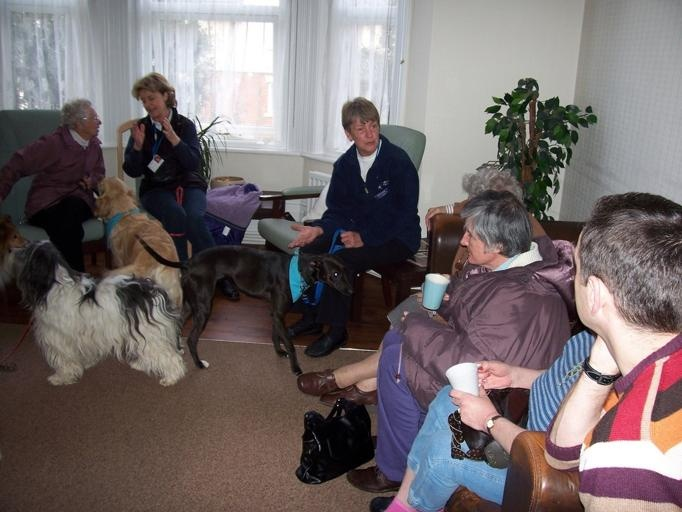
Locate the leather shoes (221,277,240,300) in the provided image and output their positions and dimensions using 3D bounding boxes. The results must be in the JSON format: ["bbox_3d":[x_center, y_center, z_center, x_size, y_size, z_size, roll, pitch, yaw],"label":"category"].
[{"bbox_3d":[-0.797,0.242,3.689,0.070,0.085,0.195,-24,54,-30],"label":"leather shoes"}]

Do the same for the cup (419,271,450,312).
[{"bbox_3d":[0.411,0.151,2.318,0.132,0.163,0.142,22,14,-6],"label":"cup"}]

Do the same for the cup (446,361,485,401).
[{"bbox_3d":[0.410,0.408,1.680,0.098,0.095,0.103,-7,-25,-3],"label":"cup"}]

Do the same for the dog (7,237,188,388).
[{"bbox_3d":[-1.313,0.337,2.776,0.725,0.685,0.333,0,-3,-7],"label":"dog"}]

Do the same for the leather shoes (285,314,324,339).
[{"bbox_3d":[-0.235,0.468,3.438,0.290,0.231,0.108,1,8,-18],"label":"leather shoes"}]

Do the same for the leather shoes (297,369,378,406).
[{"bbox_3d":[-0.037,0.693,2.723,0.443,0.198,0.171,7,30,4],"label":"leather shoes"}]

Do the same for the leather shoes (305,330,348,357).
[{"bbox_3d":[-0.091,0.557,3.274,0.113,0.110,0.284,33,44,32],"label":"leather shoes"}]

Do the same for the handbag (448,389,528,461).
[{"bbox_3d":[0.508,0.565,1.736,0.212,0.238,0.087,-8,-9,44],"label":"handbag"}]

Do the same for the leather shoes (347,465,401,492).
[{"bbox_3d":[0.136,0.967,2.265,0.236,0.112,0.102,9,34,-5],"label":"leather shoes"}]
